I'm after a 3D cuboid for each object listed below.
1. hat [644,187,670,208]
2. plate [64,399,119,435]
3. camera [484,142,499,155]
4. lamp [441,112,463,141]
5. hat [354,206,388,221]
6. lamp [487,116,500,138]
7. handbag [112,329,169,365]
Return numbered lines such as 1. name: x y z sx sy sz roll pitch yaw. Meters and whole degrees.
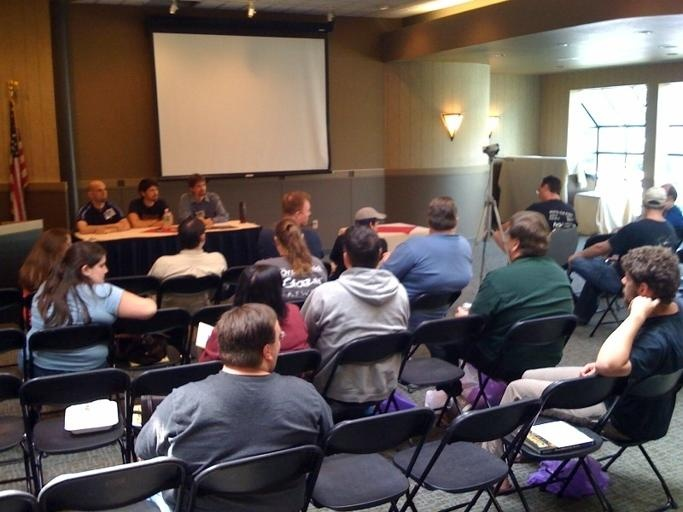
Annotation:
1. hat: 2.974 -0.554 5.578 0.158 0.254 0.244 11 13 27
2. plate: -1.313 0.833 3.067 0.268 0.087 0.296 -7 13 -23
3. camera: 1.892 -1.339 7.457 0.176 0.152 0.552 2 13 13
4. lamp: 1.767 -2.090 9.516 0.309 0.460 0.412 0 17 2
5. hat: 0.313 -0.388 5.521 0.348 0.140 0.236 -6 10 -38
6. lamp: 2.989 -2.522 11.534 0.114 0.447 0.484 6 14 32
7. handbag: -1.429 0.621 4.102 0.223 0.122 0.279 2 -1 -37
